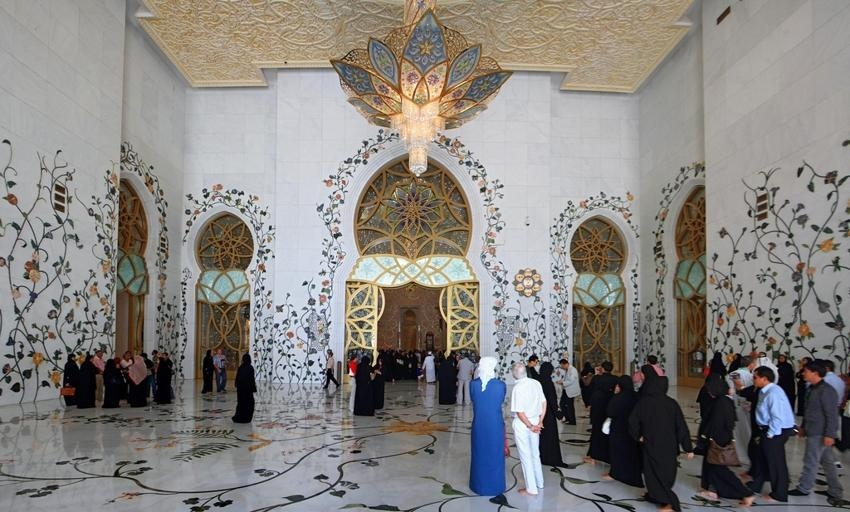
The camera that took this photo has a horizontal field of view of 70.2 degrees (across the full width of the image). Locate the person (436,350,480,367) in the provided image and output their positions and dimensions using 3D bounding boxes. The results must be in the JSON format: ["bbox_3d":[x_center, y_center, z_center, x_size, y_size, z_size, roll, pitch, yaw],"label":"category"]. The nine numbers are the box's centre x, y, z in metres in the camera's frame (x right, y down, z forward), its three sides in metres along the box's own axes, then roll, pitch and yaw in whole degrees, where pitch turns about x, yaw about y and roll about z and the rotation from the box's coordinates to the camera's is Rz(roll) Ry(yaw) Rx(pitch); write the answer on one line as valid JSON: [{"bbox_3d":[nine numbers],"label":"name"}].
[{"bbox_3d":[0.903,2.578,15.429,1.533,0.382,1.521,-1,-3,8],"label":"person"}]

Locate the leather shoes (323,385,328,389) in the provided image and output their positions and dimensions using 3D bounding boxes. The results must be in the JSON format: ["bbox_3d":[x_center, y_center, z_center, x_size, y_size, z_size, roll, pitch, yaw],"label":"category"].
[{"bbox_3d":[-2.587,3.426,15.882,0.093,0.042,0.117,1,-1,6],"label":"leather shoes"}]

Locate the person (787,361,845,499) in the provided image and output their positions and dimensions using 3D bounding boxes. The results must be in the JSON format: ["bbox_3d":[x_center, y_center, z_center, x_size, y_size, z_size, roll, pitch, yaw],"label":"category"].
[{"bbox_3d":[6.275,2.741,9.530,0.704,2.062,0.656,6,9,33],"label":"person"}]

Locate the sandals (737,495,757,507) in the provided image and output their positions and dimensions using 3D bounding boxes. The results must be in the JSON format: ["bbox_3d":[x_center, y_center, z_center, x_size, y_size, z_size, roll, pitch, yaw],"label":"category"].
[{"bbox_3d":[4.980,3.773,9.325,0.154,0.086,0.203,1,-7,-37],"label":"sandals"}]

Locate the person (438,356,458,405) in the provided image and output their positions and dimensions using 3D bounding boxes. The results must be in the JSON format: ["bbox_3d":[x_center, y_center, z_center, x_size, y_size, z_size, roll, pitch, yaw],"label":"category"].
[{"bbox_3d":[0.551,2.915,14.352,0.443,1.028,0.649,1,8,1],"label":"person"}]

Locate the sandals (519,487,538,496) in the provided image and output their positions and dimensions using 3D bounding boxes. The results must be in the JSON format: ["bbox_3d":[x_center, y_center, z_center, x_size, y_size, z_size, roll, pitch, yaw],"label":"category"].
[{"bbox_3d":[1.645,3.710,9.568,0.277,0.106,0.105,10,-6,18],"label":"sandals"}]

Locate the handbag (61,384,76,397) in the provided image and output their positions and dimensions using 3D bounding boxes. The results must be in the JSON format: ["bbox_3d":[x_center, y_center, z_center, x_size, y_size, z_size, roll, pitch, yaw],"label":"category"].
[{"bbox_3d":[-7.849,2.925,13.298,0.272,0.246,0.094,2,7,-17],"label":"handbag"}]

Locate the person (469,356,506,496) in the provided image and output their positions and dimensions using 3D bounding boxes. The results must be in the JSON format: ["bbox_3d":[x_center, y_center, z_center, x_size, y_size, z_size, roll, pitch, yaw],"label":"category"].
[{"bbox_3d":[1.009,2.657,9.554,0.582,2.090,0.627,1,8,6],"label":"person"}]

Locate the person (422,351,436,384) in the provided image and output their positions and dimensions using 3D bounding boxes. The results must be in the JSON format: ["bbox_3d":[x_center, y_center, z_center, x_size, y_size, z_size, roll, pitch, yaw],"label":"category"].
[{"bbox_3d":[0.135,3.188,17.213,0.271,0.924,0.449,0,8,-6],"label":"person"}]

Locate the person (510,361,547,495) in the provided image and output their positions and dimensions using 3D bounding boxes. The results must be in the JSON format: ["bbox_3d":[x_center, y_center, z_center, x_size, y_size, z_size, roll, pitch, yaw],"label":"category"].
[{"bbox_3d":[1.670,2.688,9.646,0.533,2.026,0.559,5,9,31],"label":"person"}]

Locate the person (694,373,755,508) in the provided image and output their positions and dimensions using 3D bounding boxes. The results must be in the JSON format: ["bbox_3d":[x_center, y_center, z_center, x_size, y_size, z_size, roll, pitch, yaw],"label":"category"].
[{"bbox_3d":[4.665,2.839,9.380,0.728,1.902,0.342,4,9,25],"label":"person"}]

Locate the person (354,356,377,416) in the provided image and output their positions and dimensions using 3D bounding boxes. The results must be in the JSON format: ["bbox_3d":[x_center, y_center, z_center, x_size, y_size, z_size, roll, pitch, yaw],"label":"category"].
[{"bbox_3d":[-1.333,2.809,13.102,0.442,1.094,0.642,0,8,-7],"label":"person"}]

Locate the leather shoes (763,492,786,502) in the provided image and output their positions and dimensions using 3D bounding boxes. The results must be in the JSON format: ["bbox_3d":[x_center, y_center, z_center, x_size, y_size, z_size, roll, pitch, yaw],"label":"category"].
[{"bbox_3d":[5.490,3.752,9.442,0.344,0.109,0.145,3,8,18],"label":"leather shoes"}]

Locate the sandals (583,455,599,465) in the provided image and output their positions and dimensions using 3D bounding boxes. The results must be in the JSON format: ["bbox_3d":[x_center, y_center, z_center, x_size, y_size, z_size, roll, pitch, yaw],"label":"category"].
[{"bbox_3d":[2.871,3.523,10.506,0.244,0.081,0.159,4,8,25],"label":"sandals"}]

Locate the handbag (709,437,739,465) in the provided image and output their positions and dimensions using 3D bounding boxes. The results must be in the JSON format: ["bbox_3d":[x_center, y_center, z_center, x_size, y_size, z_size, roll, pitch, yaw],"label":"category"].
[{"bbox_3d":[4.626,3.017,9.375,0.491,0.434,0.220,-2,-8,11],"label":"handbag"}]

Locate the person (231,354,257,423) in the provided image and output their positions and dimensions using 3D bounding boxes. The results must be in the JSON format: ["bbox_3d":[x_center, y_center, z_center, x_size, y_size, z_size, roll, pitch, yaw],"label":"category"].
[{"bbox_3d":[-3.733,2.682,12.447,0.465,1.331,0.845,-2,8,-18],"label":"person"}]
